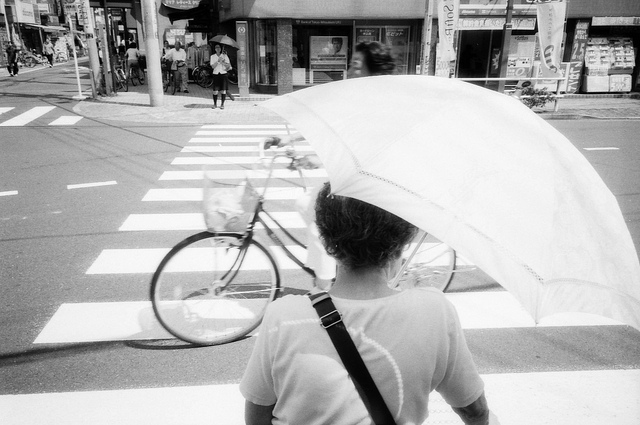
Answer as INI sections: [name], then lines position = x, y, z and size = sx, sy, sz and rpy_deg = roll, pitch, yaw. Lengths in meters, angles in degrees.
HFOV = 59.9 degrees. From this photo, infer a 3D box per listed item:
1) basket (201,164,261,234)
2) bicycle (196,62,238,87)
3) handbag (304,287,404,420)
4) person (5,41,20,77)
[basket]
position = -0.958, -0.127, 5.966
size = 0.685, 0.287, 0.911
rpy_deg = 9, 46, -19
[bicycle]
position = -4.504, -6.211, 24.665
size = 2.091, 1.244, 0.918
rpy_deg = -11, 7, -29
[handbag]
position = 0.147, 0.793, 3.365
size = 0.290, 1.105, 0.165
rpy_deg = -27, -4, -7
[person]
position = -17.040, -8.313, 30.740
size = 0.543, 1.490, 2.558
rpy_deg = -11, 22, -28
